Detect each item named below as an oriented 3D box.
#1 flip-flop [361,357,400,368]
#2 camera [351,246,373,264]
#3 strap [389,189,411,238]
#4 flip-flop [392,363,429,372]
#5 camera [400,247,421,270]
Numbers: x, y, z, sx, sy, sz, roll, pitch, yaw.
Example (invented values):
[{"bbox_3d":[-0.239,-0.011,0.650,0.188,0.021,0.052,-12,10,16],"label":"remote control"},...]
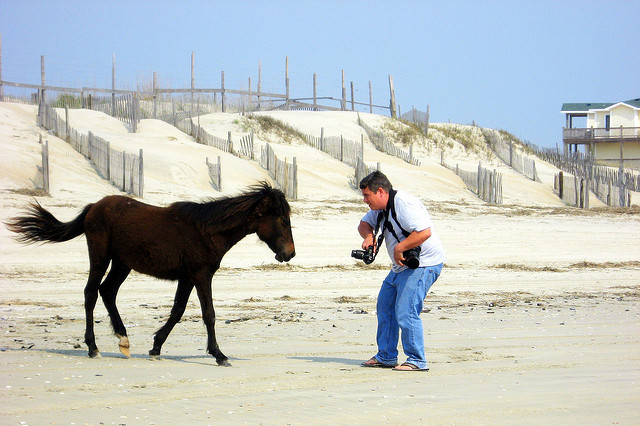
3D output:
[{"bbox_3d":[1.204,2.949,23.314,0.707,0.157,0.233,2,-5,-5],"label":"flip-flop"},{"bbox_3d":[0.862,0.841,23.324,0.379,0.151,0.331,7,-26,8],"label":"camera"},{"bbox_3d":[1.584,-0.005,23.028,0.420,0.902,0.116,1,3,8],"label":"strap"},{"bbox_3d":[1.845,3.030,23.035,0.612,0.129,0.219,2,-6,-2],"label":"flip-flop"},{"bbox_3d":[1.812,0.872,22.999,0.361,0.436,0.097,1,3,1],"label":"camera"}]
